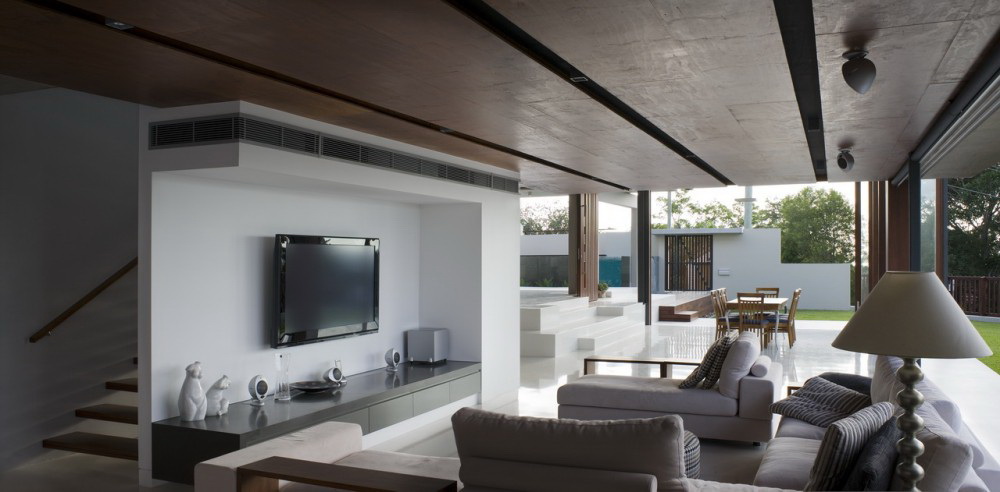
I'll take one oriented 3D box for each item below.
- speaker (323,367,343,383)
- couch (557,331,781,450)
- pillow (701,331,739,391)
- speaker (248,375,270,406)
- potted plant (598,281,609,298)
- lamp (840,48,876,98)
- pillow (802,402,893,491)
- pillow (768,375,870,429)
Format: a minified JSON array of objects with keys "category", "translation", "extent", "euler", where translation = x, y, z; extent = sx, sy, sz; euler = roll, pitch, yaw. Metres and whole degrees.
[{"category":"speaker","translation":[-2.270,1.779,7.849],"extent":[0.260,0.162,0.227],"euler":[-6,21,16]},{"category":"couch","translation":[2.378,1.855,8.029],"extent":[2.862,1.141,1.462],"euler":[0,-4,18]},{"category":"pillow","translation":[2.832,1.524,7.492],"extent":[0.237,0.617,0.701],"euler":[23,20,0]},{"category":"speaker","translation":[-3.106,1.838,7.254],"extent":[0.204,0.307,0.289],"euler":[-1,-1,-23]},{"category":"potted plant","translation":[3.117,1.315,17.211],"extent":[0.506,0.495,0.535],"euler":[-1,-1,13]},{"category":"lamp","translation":[3.570,-1.746,5.687],"extent":[0.260,0.474,0.239],"euler":[-2,-1,29]},{"category":"pillow","translation":[3.223,1.886,5.265],"extent":[0.301,0.496,0.896],"euler":[11,17,37]},{"category":"pillow","translation":[3.784,1.861,6.719],"extent":[0.692,0.118,0.626],"euler":[-16,12,-35]}]
